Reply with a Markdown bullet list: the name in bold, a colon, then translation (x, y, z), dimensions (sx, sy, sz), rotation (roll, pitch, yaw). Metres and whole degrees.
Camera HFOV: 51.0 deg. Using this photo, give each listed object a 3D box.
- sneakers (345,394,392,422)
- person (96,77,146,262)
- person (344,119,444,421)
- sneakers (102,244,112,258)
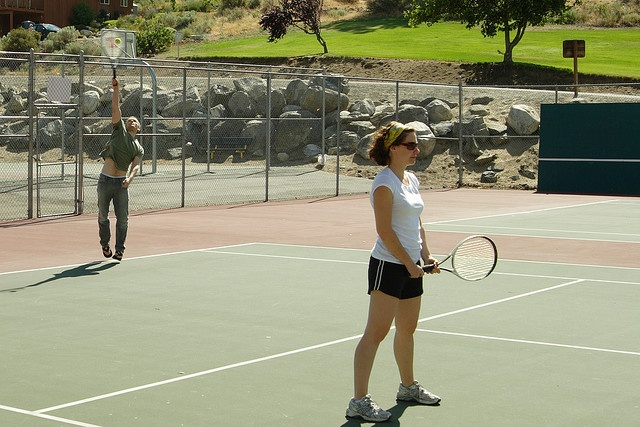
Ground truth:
- **sneakers**: translation (0.426, 1.796, 6.229), dimensions (0.466, 0.260, 0.179), rotation (4, 1, 8)
- **person**: translation (-3.768, -0.842, 12.593), dimensions (0.803, 3.361, 1.062), rotation (-1, 8, -12)
- **person**: translation (0.645, 0.521, 6.240), dimensions (0.933, 2.705, 0.564), rotation (-6, 10, -37)
- **sneakers**: translation (-3.956, 0.699, 12.515), dimensions (0.165, 0.231, 0.117), rotation (-2, 9, -21)
